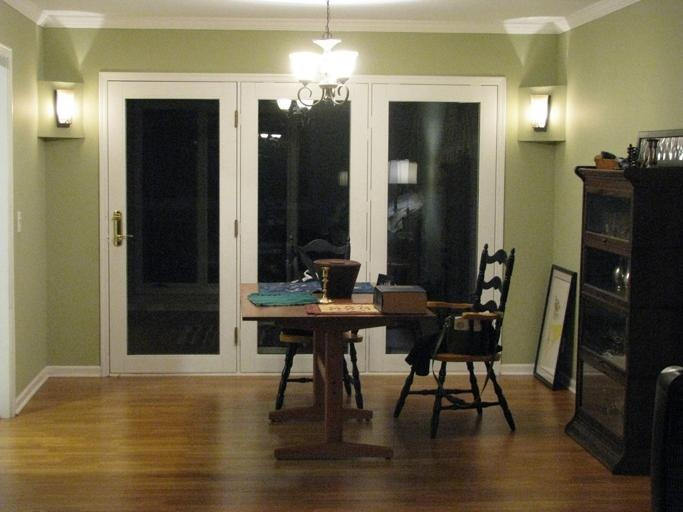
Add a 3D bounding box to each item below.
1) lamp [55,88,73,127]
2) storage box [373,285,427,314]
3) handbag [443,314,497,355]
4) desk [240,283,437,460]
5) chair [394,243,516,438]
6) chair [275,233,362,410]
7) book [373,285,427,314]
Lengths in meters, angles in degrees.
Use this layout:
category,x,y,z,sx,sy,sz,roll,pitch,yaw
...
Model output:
category,x,y,z,sx,sy,sz,roll,pitch,yaw
lamp,-2.298,-1.221,4.959,0.158,0.307,0.067,-4,9,-26
storage box,0.339,0.250,3.545,0.188,0.097,0.194,1,4,-5
handbag,0.864,0.582,4.138,0.352,0.252,0.199,2,-24,1
desk,-0.083,0.847,4.377,1.015,0.923,1.911,1,-6,-5
chair,0.822,0.583,4.291,0.698,1.264,0.749,0,0,-20
chair,-0.186,0.474,4.679,0.682,1.311,0.658,3,-3,-18
book,0.341,0.253,3.545,0.188,0.097,0.194,1,4,-5
